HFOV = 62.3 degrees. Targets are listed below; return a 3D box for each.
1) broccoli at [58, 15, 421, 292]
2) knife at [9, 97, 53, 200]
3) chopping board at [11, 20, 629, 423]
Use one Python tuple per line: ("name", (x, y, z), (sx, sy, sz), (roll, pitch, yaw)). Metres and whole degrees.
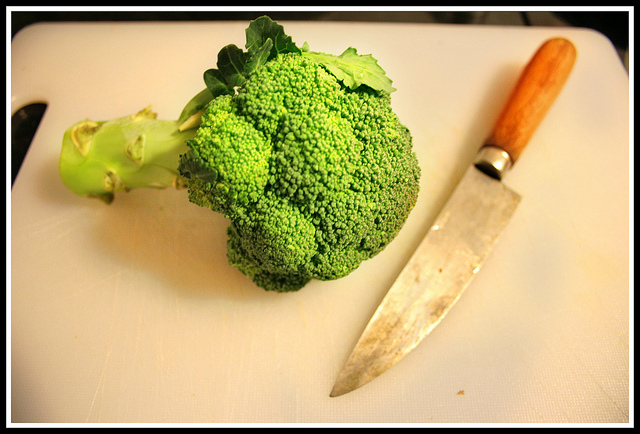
("broccoli", (-0.231, -0.210, 1.687), (1.027, 0.810, 0.423), (24, 18, 20))
("knife", (-1.054, -0.266, 1.913), (0.120, 0.338, 0.145), (6, 20, -32))
("chopping board", (0.018, 0.082, 1.790), (1.864, 1.370, 0.019), (0, -1, 0))
